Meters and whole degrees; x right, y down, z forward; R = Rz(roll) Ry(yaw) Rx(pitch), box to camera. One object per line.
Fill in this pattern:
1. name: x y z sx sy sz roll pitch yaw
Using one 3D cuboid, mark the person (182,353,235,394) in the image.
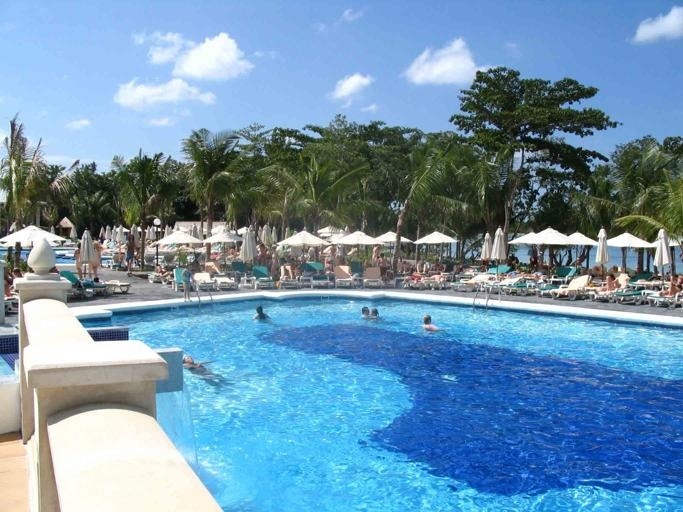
1. person: -2.503 2.086 10.584 0.890 0.288 1.291 7 15 -38
